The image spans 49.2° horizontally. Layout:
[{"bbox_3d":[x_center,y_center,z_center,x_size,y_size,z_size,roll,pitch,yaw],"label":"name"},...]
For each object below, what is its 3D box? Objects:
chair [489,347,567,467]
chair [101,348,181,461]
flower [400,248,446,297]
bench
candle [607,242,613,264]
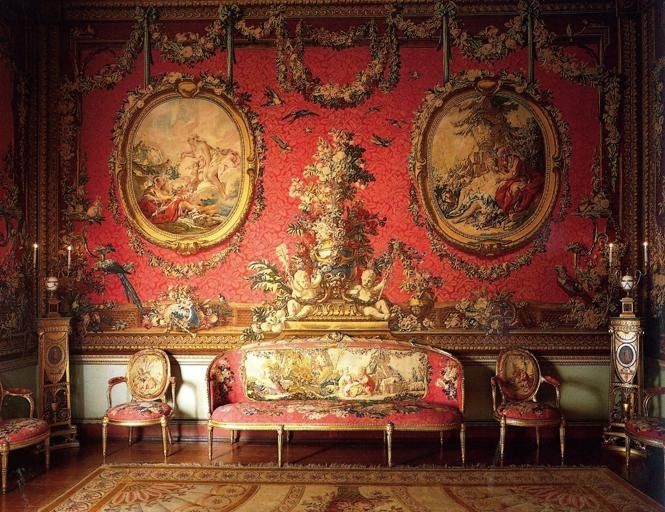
[{"bbox_3d":[2.314,1.681,8.867,0.997,1.566,1.191,0,-12,0],"label":"chair"},{"bbox_3d":[-2.245,1.691,8.590,0.801,1.145,0.874,0,-2,-15],"label":"chair"},{"bbox_3d":[1.052,0.189,9.044,0.430,0.572,0.151,-13,-11,-12],"label":"flower"},{"bbox_3d":[0.062,1.676,8.536,2.986,1.398,0.976,-1,5,4],"label":"bench"},{"bbox_3d":[3.422,-0.033,8.962,0.066,0.281,0.241,5,13,21],"label":"candle"}]
